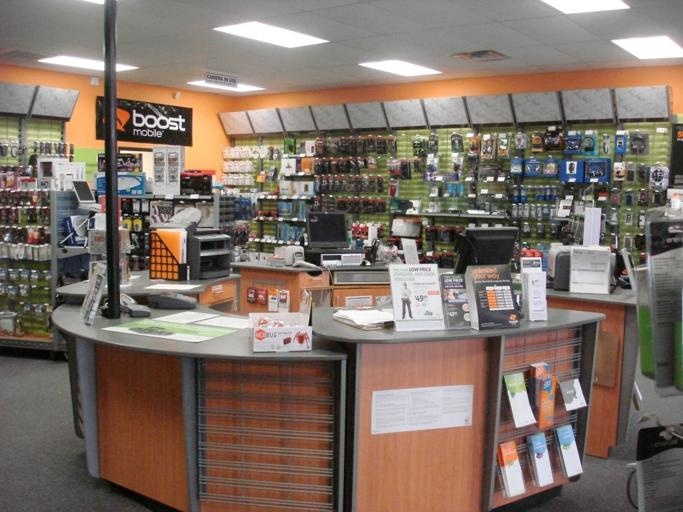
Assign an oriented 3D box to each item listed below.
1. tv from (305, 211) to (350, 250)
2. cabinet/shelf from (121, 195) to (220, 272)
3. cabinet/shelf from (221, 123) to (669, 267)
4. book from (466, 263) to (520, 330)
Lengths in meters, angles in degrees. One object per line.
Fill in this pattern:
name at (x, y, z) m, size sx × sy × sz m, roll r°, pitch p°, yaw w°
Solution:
tv at (-0.174, -0.315, 6.991) m, size 0.515 × 0.440 × 0.084 m, roll 3°, pitch -30°, yaw -12°
cabinet/shelf at (-1.697, -0.122, 5.894) m, size 0.580 × 0.752 × 0.837 m, roll 1°, pitch -2°, yaw 6°
cabinet/shelf at (2.420, -1.141, 8.763) m, size 5.060 × 2.314 × 0.607 m, roll -2°, pitch 3°, yaw 34°
book at (0.945, 0.269, 3.489) m, size 0.326 × 0.428 × 0.240 m, roll -1°, pitch -25°, yaw -20°
